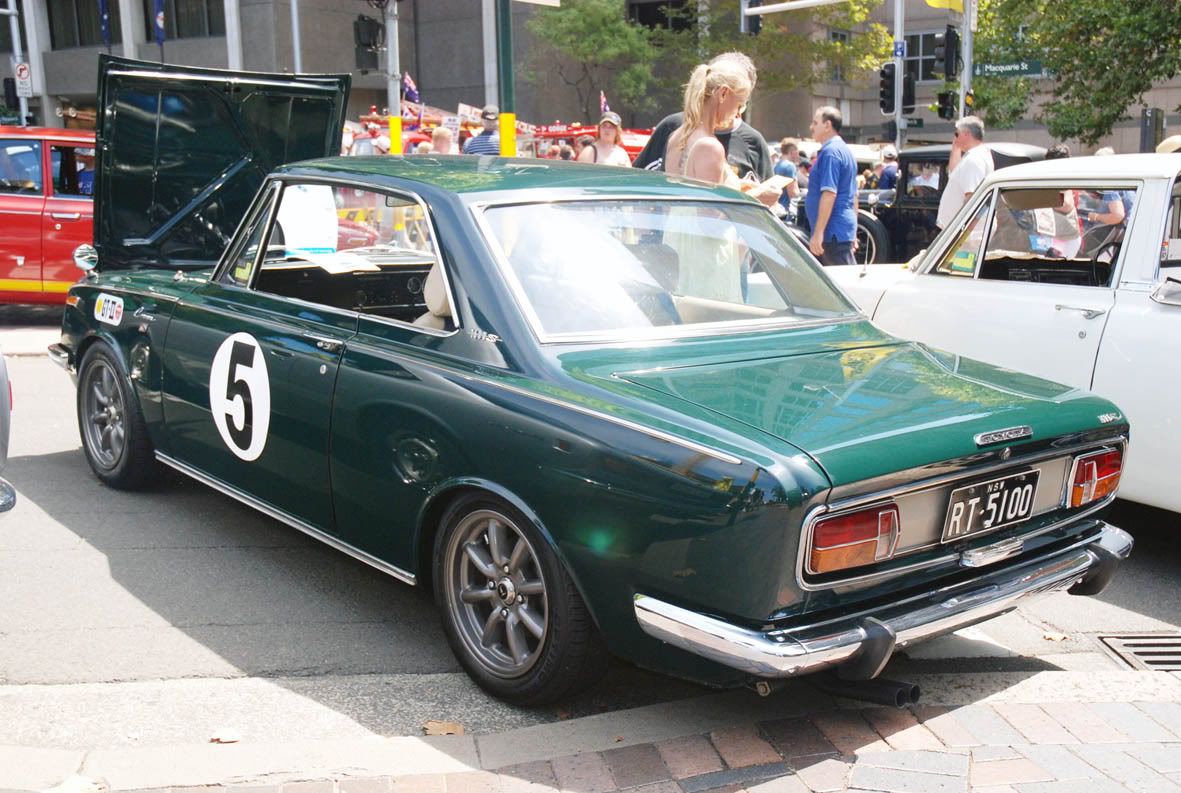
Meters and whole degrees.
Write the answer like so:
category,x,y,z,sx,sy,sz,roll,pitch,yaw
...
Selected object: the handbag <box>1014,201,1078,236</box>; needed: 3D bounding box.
category,x,y,z,sx,sy,sz,roll,pitch,yaw
handbag,2.972,-1.125,6.044,0.213,0.110,0.288,24,-16,-30
